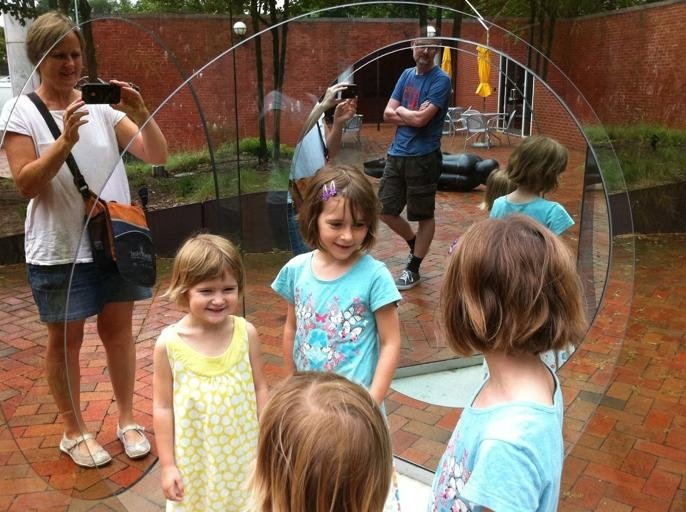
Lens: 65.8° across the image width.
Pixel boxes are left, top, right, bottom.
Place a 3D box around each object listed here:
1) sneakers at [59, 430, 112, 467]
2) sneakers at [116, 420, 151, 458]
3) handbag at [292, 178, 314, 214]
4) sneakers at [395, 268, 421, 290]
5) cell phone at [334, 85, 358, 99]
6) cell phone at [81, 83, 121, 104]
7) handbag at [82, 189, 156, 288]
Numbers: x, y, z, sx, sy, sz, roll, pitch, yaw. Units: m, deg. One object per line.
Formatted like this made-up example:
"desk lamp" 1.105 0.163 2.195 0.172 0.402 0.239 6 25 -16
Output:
"sneakers" -1.068 0.796 2.231 0.226 0.090 0.112 11 21 23
"sneakers" -0.905 0.794 2.297 0.100 0.059 0.160 -29 64 -32
"handbag" -0.188 -0.272 2.402 0.125 0.151 0.046 -2 2 -10
"sneakers" 0.505 0.184 4.193 0.122 0.141 0.335 4 4 30
"cell phone" 0.024 -0.717 2.312 0.050 0.065 0.121 14 21 39
"cell phone" -0.862 -0.585 1.898 0.141 0.070 0.056 7 18 22
"handbag" -0.850 -0.086 2.002 0.137 0.323 0.267 9 25 15
